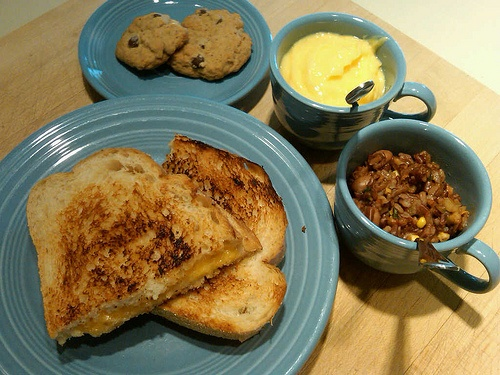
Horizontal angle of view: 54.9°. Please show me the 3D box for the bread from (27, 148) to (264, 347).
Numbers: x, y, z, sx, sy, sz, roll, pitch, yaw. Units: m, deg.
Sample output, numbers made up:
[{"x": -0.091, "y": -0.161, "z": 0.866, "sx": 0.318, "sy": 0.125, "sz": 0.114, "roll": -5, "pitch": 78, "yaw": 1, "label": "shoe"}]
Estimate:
[{"x": -0.403, "y": 0.114, "z": 1.603, "sx": 0.703, "sy": 0.119, "sz": 0.583, "roll": -26, "pitch": 79, "yaw": -8, "label": "bread"}]
